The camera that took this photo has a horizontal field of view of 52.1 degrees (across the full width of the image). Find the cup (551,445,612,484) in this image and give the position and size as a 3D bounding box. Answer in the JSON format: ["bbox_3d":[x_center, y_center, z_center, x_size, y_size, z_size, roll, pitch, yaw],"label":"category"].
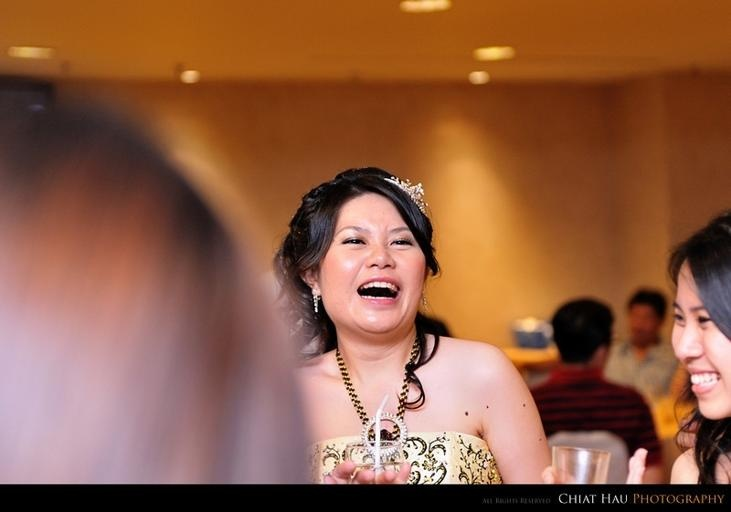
[{"bbox_3d":[0.866,0.841,3.005,0.191,0.162,0.175,1,-8,0],"label":"cup"}]

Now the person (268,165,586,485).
[{"bbox_3d":[0.253,0.318,3.108,1.029,1.448,0.582,-5,-16,-1],"label":"person"}]

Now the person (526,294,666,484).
[{"bbox_3d":[0.980,0.597,3.298,0.587,0.880,0.421,-6,22,15],"label":"person"}]

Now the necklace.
[{"bbox_3d":[0.073,0.646,2.981,0.294,0.029,0.564,0,-45,5],"label":"necklace"}]
